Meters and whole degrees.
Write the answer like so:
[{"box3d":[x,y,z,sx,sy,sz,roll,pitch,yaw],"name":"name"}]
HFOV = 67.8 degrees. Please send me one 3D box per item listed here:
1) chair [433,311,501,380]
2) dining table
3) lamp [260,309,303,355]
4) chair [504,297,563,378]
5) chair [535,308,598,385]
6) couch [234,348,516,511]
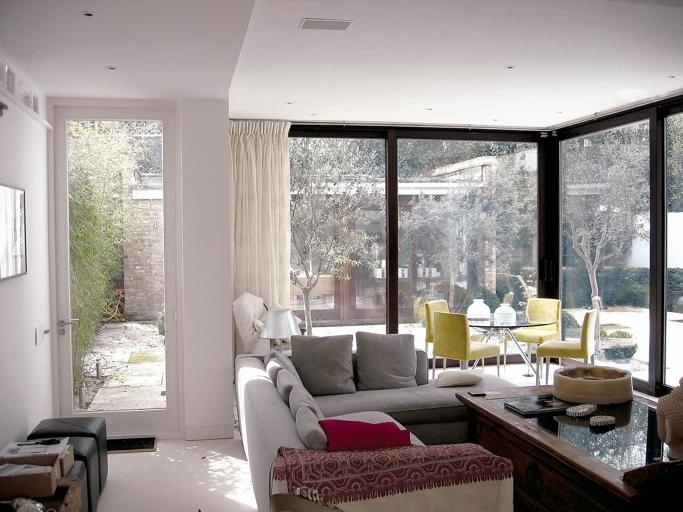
[{"box3d":[1.453,1.088,5.960,0.635,0.994,0.652,0,4,41],"name":"chair"},{"box3d":[1.897,1.197,6.194,0.951,0.592,0.968,0,-2,-7],"name":"dining table"},{"box3d":[-0.553,0.730,4.887,0.456,0.481,0.450,-2,7,-4],"name":"lamp"},{"box3d":[2.490,1.029,6.570,0.602,0.922,0.610,-1,2,37],"name":"chair"},{"box3d":[2.681,1.133,6.069,0.711,0.987,0.708,1,-2,10],"name":"chair"},{"box3d":[0.174,1.216,4.062,1.200,0.478,1.368,-3,5,-18],"name":"couch"}]
